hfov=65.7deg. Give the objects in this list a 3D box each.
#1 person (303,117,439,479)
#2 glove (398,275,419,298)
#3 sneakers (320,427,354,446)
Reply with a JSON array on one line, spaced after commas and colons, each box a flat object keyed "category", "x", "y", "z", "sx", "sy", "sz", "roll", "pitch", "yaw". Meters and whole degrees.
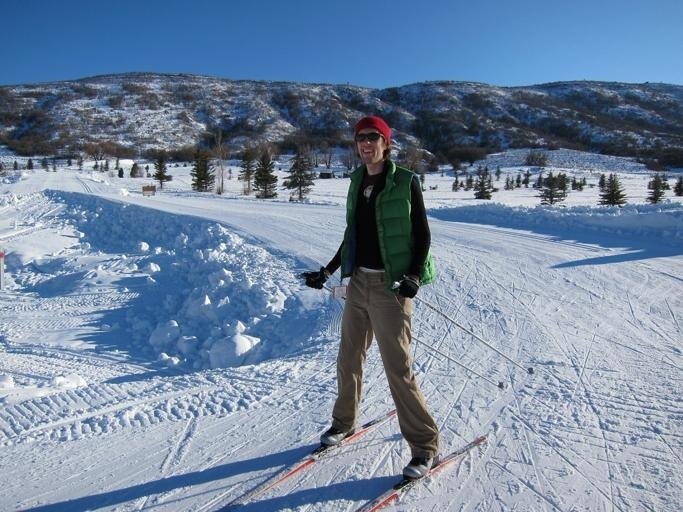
[{"category": "person", "x": 0.457, "y": 0.427, "z": 5.786, "sx": 1.244, "sy": 3.895, "sz": 0.568, "roll": 3, "pitch": 9, "yaw": 23}, {"category": "glove", "x": 0.694, "y": 0.322, "z": 5.463, "sx": 0.186, "sy": 0.205, "sz": 0.227, "roll": 6, "pitch": 3, "yaw": -4}, {"category": "sneakers", "x": -0.083, "y": 2.095, "z": 6.122, "sx": 0.441, "sy": 0.188, "sz": 0.157, "roll": 7, "pitch": 1, "yaw": -36}]
